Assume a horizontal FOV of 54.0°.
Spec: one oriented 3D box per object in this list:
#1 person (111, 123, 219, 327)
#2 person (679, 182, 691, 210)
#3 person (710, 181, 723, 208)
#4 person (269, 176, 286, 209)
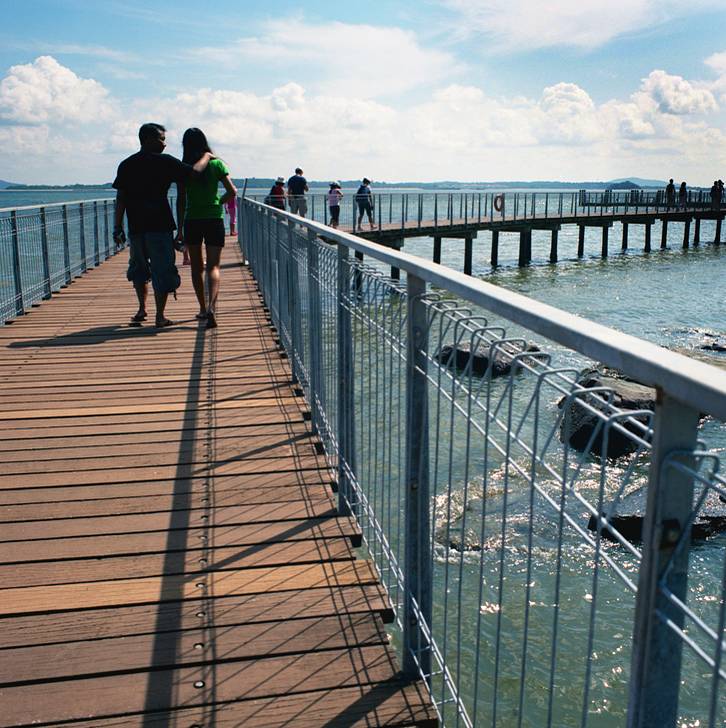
[{"bbox_3d":[-2.013,-1.256,6.854,0.753,1.987,1.128,-9,17,-31],"label":"person"},{"bbox_3d":[22.585,-11.984,50.291,0.563,1.564,1.897,9,17,30],"label":"person"},{"bbox_3d":[25.833,-12.606,52.334,0.810,1.673,1.349,10,17,32],"label":"person"},{"bbox_3d":[-2.815,-5.601,23.391,0.554,0.948,1.831,-1,15,-5],"label":"person"}]
